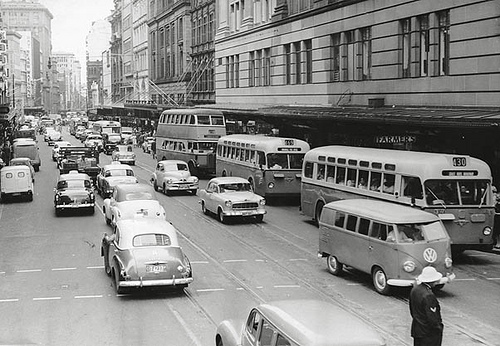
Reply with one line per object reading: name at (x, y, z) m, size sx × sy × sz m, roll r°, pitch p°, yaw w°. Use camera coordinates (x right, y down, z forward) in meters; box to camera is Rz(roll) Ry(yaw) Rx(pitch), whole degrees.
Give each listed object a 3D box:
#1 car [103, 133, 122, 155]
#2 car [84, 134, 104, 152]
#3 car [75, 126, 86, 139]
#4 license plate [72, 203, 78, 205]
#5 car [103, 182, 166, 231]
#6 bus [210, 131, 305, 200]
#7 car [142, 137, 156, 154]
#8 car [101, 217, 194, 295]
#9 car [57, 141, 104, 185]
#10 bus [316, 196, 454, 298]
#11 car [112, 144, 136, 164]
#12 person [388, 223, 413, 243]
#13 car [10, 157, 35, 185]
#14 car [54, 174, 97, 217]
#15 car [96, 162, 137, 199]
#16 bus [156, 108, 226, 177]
car at (-19.335, -4.156, 70.906) m, size 2.482 × 2.698 × 4.356 m, roll -1°, pitch 1°, yaw -20°
car at (-22.152, -4.085, 71.529) m, size 2.319 × 2.410 × 3.881 m, roll 0°, pitch 7°, yaw -10°
car at (-34.221, -8.202, 100.398) m, size 2.372 × 2.227 × 4.256 m, roll -2°, pitch 11°, yaw -12°
license plate at (-10.400, 1.832, 29.836) m, size 0.309 × 0.087 × 0.063 m, roll -1°, pitch 7°, yaw -14°
car at (-6.175, 1.644, 26.053) m, size 1.908 × 1.765 × 3.402 m, roll -2°, pitch 1°, yaw -23°
bus at (0.399, -0.609, 37.916) m, size 3.432 × 4.403 × 10.778 m, roll 2°, pitch 6°, yaw -22°
car at (-15.252, -4.255, 76.971) m, size 2.090 × 2.066 × 5.237 m, roll -2°, pitch 4°, yaw -25°
car at (-3.520, 2.906, 17.145) m, size 2.229 × 2.212 × 3.121 m, roll -3°, pitch 8°, yaw -29°
car at (-14.212, -0.186, 42.095) m, size 3.043 × 2.523 × 5.012 m, roll 0°, pitch 3°, yaw -19°
bus at (4.819, 2.730, 18.741) m, size 2.270 × 3.113 × 5.891 m, roll 1°, pitch 2°, yaw -20°
car at (-14.574, -2.073, 57.842) m, size 2.344 × 1.962 × 3.662 m, roll -1°, pitch 7°, yaw -18°
person at (4.921, 1.975, 16.515) m, size 0.734 × 0.535 × 0.362 m, roll 2°, pitch 7°, yaw 11°
car at (-19.962, -0.002, 43.883) m, size 2.140 × 2.223 × 4.177 m, roll -1°, pitch 6°, yaw -18°
car at (-10.720, 1.405, 30.769) m, size 2.258 × 2.369 × 2.344 m, roll -2°, pitch 7°, yaw -20°
car at (-9.386, 0.577, 34.871) m, size 1.880 × 1.810 × 4.701 m, roll 0°, pitch 8°, yaw -18°
bus at (-5.200, -3.503, 50.858) m, size 3.480 × 6.366 × 11.000 m, roll -1°, pitch 3°, yaw -28°
